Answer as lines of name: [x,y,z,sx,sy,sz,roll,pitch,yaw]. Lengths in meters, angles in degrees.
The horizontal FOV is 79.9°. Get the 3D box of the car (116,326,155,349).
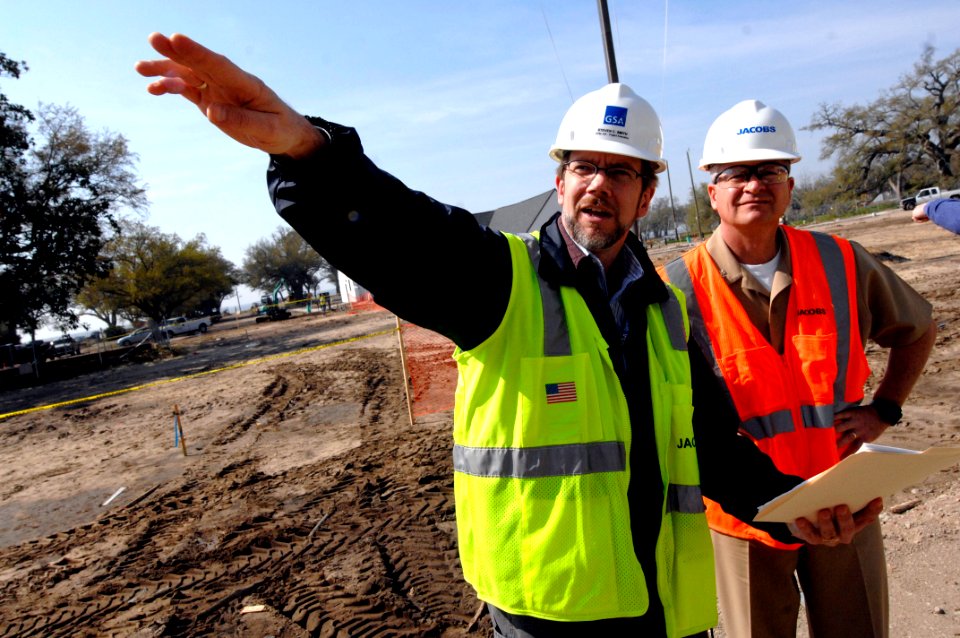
car: [-24.631,1.234,41.185,2.209,1.195,1.348,1,-1,-23]
